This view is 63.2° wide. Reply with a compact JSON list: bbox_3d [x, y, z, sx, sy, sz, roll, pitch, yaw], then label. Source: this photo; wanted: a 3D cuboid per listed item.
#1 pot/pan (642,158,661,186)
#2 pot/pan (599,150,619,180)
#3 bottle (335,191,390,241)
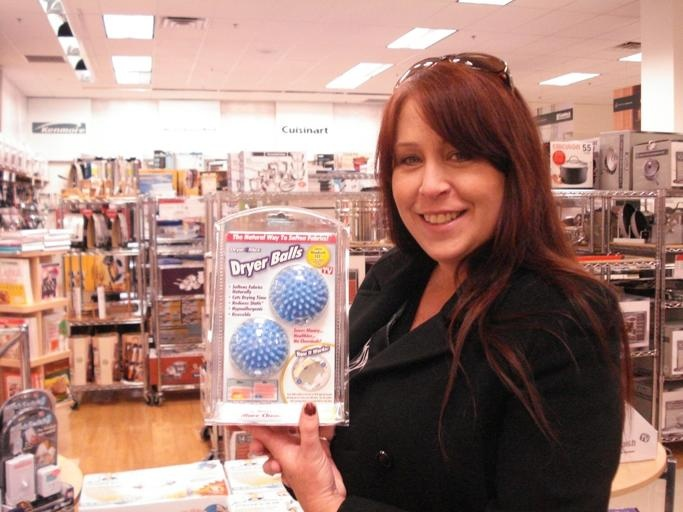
[{"bbox_3d":[2.169,-0.592,3.850,0.045,0.148,0.109,3,-16,-43],"label":"pot/pan"},{"bbox_3d":[1.944,-0.675,4.000,0.032,0.153,0.116,4,2,-39],"label":"pot/pan"},{"bbox_3d":[0.148,-0.254,3.431,0.334,0.337,0.323,-3,7,5],"label":"bottle"}]
